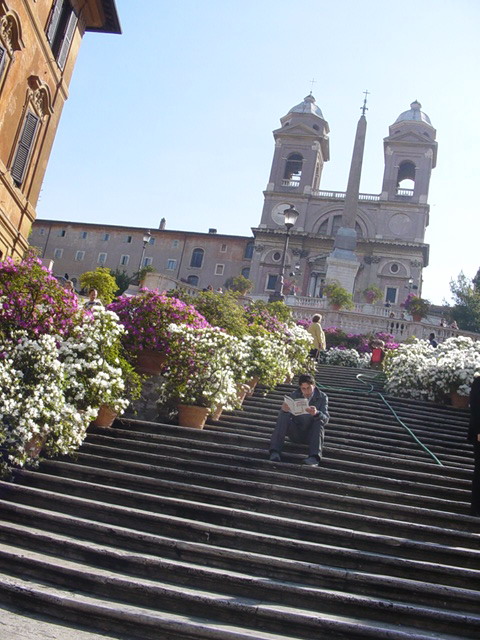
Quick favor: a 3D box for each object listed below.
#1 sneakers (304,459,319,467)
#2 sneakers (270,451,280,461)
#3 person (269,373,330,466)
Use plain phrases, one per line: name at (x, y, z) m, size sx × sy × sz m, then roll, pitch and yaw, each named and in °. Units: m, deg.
sneakers at (0.809, 1.610, 6.381) m, size 0.162 × 0.111 × 0.310 m, roll 11°, pitch -13°, yaw 8°
sneakers at (0.417, 1.549, 6.460) m, size 0.095 × 0.072 × 0.166 m, roll 17°, pitch -3°, yaw -2°
person at (0.783, 1.204, 6.949) m, size 0.626 × 1.140 × 0.999 m, roll 11°, pitch -14°, yaw 10°
